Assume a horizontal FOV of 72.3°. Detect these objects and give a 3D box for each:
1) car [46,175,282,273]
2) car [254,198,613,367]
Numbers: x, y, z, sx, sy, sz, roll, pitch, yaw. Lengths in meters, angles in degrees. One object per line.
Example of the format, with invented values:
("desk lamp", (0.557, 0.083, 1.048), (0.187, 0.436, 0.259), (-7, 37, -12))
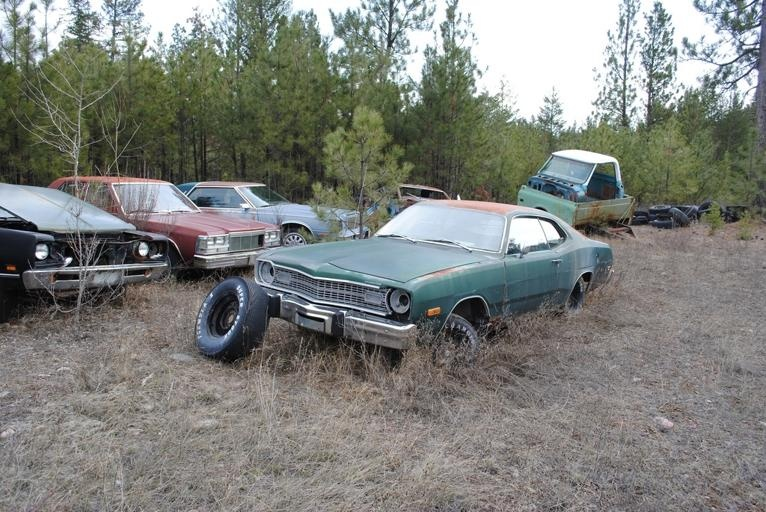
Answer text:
("car", (-4.130, -0.184, 9.733), (3.845, 1.334, 1.967), (14, 14, 20))
("car", (0.915, 0.159, 6.675), (1.974, 1.151, 3.506), (8, 12, 43))
